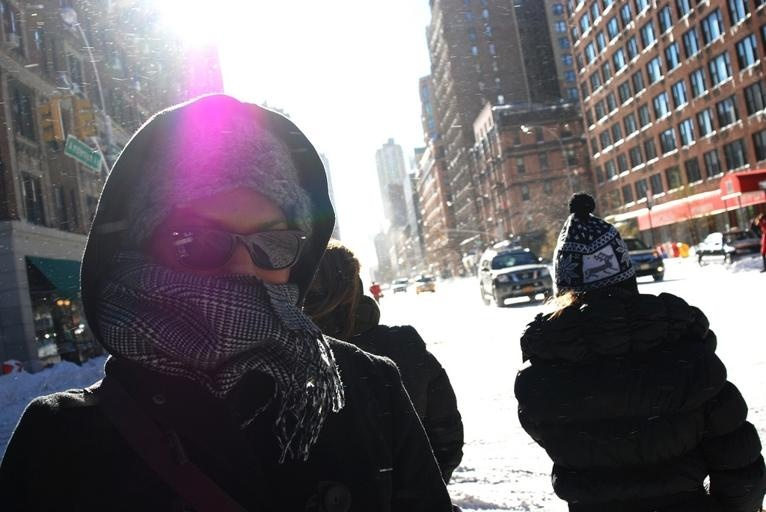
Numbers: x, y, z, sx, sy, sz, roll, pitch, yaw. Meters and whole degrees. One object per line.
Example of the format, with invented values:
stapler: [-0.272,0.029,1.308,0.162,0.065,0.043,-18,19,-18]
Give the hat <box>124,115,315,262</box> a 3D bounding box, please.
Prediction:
hat: [-0.575,-0.223,2.310,0.416,0.391,0.527,7,-13,-35]

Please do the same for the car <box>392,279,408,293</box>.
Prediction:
car: [1.879,3.393,74.264,1.313,0.862,2.690,-4,-6,2]

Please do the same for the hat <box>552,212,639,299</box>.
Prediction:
hat: [1.071,0.004,3.616,0.424,0.384,0.410,-14,3,36]

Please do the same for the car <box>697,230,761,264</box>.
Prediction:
car: [13.173,-0.387,25.865,1.676,0.744,2.530,-2,-4,14]
